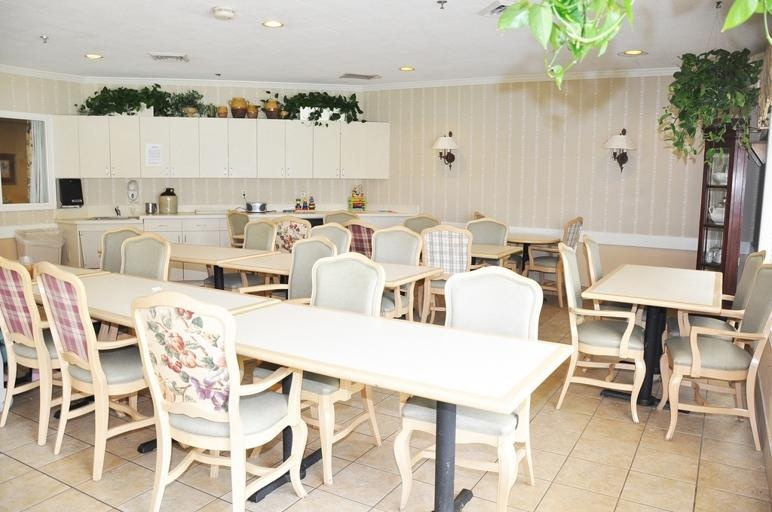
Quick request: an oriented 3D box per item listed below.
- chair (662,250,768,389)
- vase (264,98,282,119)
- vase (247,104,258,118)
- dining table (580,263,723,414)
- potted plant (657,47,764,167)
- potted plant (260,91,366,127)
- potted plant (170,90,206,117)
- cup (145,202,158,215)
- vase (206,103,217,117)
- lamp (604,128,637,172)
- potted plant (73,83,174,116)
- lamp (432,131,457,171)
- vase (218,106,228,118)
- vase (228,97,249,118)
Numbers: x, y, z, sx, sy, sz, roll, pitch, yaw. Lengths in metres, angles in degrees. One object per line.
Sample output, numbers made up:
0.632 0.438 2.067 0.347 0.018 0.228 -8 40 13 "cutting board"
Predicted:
2.926 0.378 4.562 0.966 1.263 0.817 6 12 29 "chair"
-1.778 -2.291 8.325 0.330 0.338 0.309 0 2 -6 "vase"
-2.103 -2.262 8.301 0.205 0.211 0.195 0 0 9 "vase"
2.352 0.332 4.577 1.108 1.209 1.898 4 11 24 "dining table"
2.878 -1.465 4.642 0.746 0.669 0.648 5 31 1 "potted plant"
-1.143 -2.387 8.515 1.592 0.529 0.422 -2 9 -3 "potted plant"
-3.057 -2.378 8.185 0.465 0.248 0.411 -3 39 -14 "potted plant"
-3.668 -0.722 8.198 0.212 0.196 0.210 2 8 0 "cup"
-2.737 -2.270 8.249 0.199 0.234 0.184 -7 25 -20 "vase"
3.121 -1.434 7.209 0.341 0.490 0.363 6 11 -6 "lamp"
-3.923 -2.333 7.932 1.334 0.490 0.288 -4 10 -17 "potted plant"
0.911 -1.620 8.246 0.327 0.486 0.367 10 6 5 "lamp"
-2.566 -2.244 8.252 0.179 0.176 0.177 -8 17 -31 "vase"
-2.319 -2.290 8.350 0.368 0.314 0.300 -2 4 -21 "vase"
